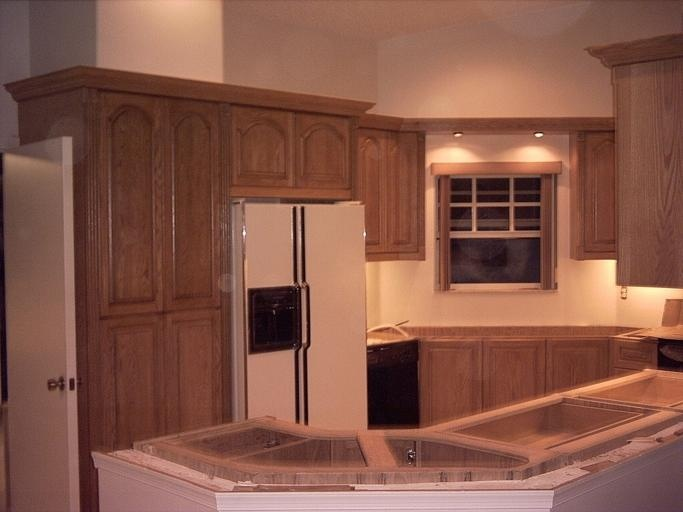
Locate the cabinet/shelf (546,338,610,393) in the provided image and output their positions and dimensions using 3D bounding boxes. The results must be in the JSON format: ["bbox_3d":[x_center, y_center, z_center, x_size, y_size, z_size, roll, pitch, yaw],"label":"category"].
[{"bbox_3d":[1.703,0.798,4.709,0.433,0.380,0.157,-1,-4,-2],"label":"cabinet/shelf"}]
